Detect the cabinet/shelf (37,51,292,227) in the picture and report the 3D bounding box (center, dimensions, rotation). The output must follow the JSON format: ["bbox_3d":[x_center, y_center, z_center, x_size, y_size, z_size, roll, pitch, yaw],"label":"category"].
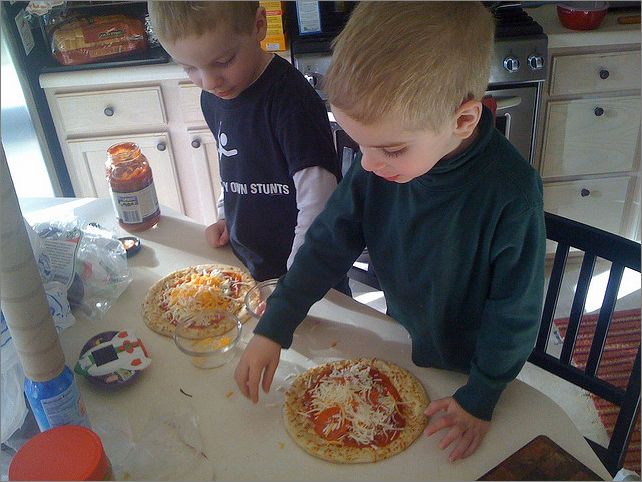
[{"bbox_3d":[-0.747,-0.486,2.248,0.922,0.913,0.379,-2,33,-2],"label":"cabinet/shelf"}]

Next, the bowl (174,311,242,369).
[{"bbox_3d":[-0.289,0.251,1.336,0.171,0.055,0.162,-2,30,1],"label":"bowl"}]
